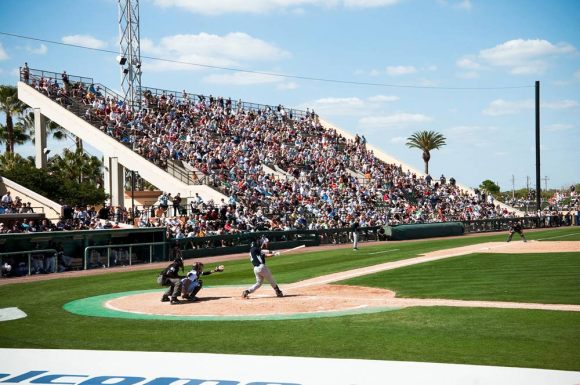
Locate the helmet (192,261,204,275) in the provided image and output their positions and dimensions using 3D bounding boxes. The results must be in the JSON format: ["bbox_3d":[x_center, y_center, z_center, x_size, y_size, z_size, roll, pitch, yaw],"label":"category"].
[{"bbox_3d":[-3.942,3.152,35.255,0.553,0.500,0.430,1,3,19],"label":"helmet"}]

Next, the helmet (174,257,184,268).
[{"bbox_3d":[-4.643,2.866,34.784,0.334,0.444,0.466,-4,11,-8],"label":"helmet"}]

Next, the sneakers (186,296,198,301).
[{"bbox_3d":[-4.110,4.412,34.955,0.442,0.183,0.169,-2,1,7],"label":"sneakers"}]

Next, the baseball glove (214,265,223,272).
[{"bbox_3d":[-2.894,3.146,34.636,0.437,0.265,0.176,-13,-41,31],"label":"baseball glove"}]

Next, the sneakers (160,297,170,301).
[{"bbox_3d":[-5.188,4.431,34.832,0.425,0.172,0.139,-4,1,14],"label":"sneakers"}]
